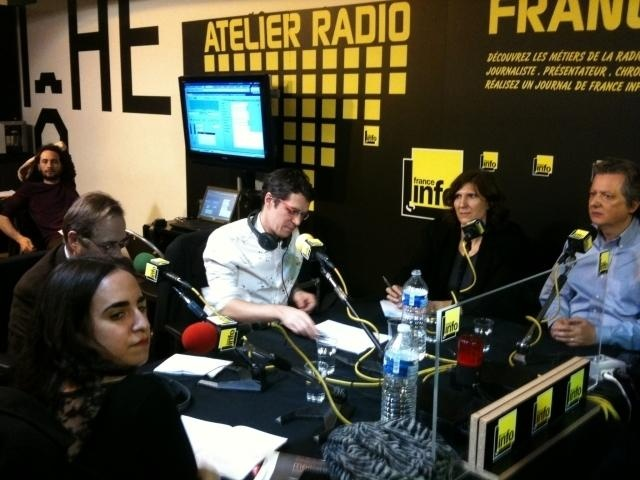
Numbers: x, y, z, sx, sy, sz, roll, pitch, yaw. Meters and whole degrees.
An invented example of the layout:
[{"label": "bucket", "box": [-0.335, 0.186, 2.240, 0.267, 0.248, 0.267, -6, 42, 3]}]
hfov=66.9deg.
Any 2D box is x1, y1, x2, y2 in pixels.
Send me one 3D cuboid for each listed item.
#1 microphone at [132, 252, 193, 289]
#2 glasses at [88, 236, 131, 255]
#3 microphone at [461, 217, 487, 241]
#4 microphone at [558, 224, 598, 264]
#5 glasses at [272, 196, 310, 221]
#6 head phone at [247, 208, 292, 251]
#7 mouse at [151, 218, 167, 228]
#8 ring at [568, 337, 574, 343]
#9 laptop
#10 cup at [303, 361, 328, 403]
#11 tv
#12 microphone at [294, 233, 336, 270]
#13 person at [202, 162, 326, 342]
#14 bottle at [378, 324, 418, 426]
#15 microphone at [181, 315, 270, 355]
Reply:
[{"label": "microphone", "box": [-0.606, 0.080, 1.810, 0.346, 0.106, 0.094, 22, 17, 39]}, {"label": "glasses", "box": [-1.003, 0.029, 2.252, 0.115, 0.040, 0.092, 5, 11, 29]}, {"label": "microphone", "box": [0.728, -0.050, 2.311, 0.087, 0.109, 0.224, 3, 6, 17]}, {"label": "microphone", "box": [1.171, 0.008, 2.175, 0.078, 0.136, 0.140, 31, 53, 12]}, {"label": "glasses", "box": [-0.154, -0.178, 2.490, 0.133, 0.045, 0.132, 32, 11, 27]}, {"label": "head phone", "box": [-0.296, -0.045, 2.549, 0.241, 0.086, 0.194, 40, 22, 24]}, {"label": "mouse", "box": [-1.360, -0.161, 4.156, 0.085, 0.061, 0.086, -7, 14, -38]}, {"label": "ring", "box": [0.908, 0.357, 1.743, 0.016, 0.017, 0.004, 7, 2, 18]}, {"label": "laptop", "box": [-0.974, -0.266, 4.076, 0.494, 0.320, 0.445, 11, 15, 44]}, {"label": "cup", "box": [-0.012, 0.531, 1.769, 0.075, 0.122, 0.078, -1, 12, 0]}, {"label": "tv", "box": [-0.771, -0.973, 3.899, 1.082, 0.751, 0.205, 6, 7, 41]}, {"label": "microphone", "box": [-0.030, 0.033, 1.989, 0.075, 0.067, 0.255, 35, 5, -38]}, {"label": "person", "box": [-0.274, 0.056, 2.672, 0.519, 1.259, 0.567, 33, 36, 31]}, {"label": "bottle", "box": [0.269, 0.447, 1.634, 0.118, 0.329, 0.253, 2, 5, 8]}, {"label": "microphone", "box": [-0.351, 0.322, 1.704, 0.219, 0.102, 0.099, -6, 30, -35]}]
